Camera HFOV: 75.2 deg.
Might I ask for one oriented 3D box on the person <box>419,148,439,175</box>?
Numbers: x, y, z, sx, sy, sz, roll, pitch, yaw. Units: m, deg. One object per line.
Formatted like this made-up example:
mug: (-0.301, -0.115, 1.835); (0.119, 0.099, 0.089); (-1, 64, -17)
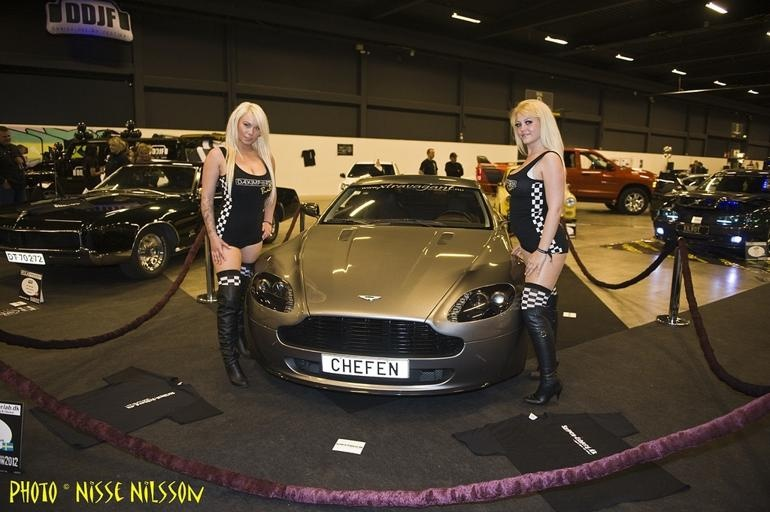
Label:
person: (1.155, -2.472, 13.002); (0.332, 0.627, 1.239); (2, 12, 8)

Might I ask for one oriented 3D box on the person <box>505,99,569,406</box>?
person: (1.199, -0.037, 3.935); (0.450, 2.336, 0.574); (-1, 12, -9)

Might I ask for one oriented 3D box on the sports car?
sports car: (0.300, -0.112, 5.525); (2.543, 1.461, 4.140); (3, 14, 11)
